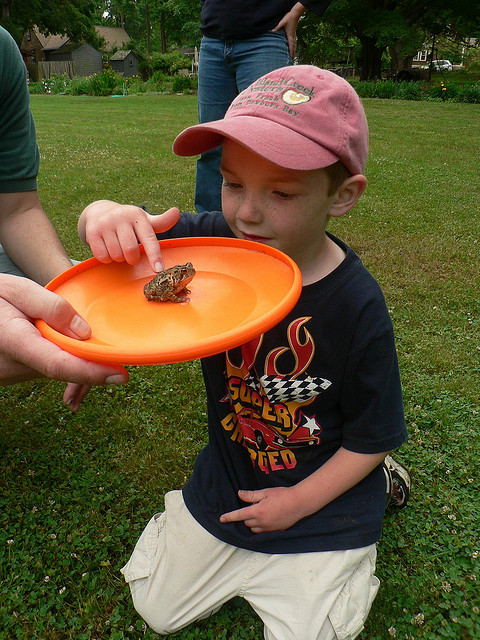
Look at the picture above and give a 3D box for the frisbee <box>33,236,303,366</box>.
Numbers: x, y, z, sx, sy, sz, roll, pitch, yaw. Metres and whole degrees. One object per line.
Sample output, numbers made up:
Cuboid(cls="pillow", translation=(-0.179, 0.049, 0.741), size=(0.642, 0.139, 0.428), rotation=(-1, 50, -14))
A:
Cuboid(cls="frisbee", translation=(-0.223, -0.065, 1.636), size=(0.675, 0.086, 0.675), rotation=(-29, 36, -35))
